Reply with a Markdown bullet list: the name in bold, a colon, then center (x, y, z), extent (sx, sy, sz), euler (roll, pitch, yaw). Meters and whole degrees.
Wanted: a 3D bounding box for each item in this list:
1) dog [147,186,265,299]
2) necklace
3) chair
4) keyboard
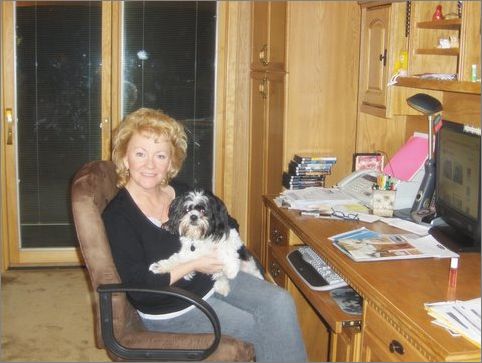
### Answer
- **dog**: center (-0.178, 0.255, 2.138), extent (0.351, 0.410, 0.580), euler (5, -2, 16)
- **necklace**: center (-0.444, 0.089, 2.029), extent (0.200, 0.196, 0.068), euler (-15, 10, -34)
- **chair**: center (-0.334, 0.395, 2.319), extent (0.909, 1.174, 0.747), euler (-2, -4, -8)
- **keyboard**: center (0.358, 0.428, 2.025), extent (0.137, 0.070, 0.280), euler (1, 13, -16)
